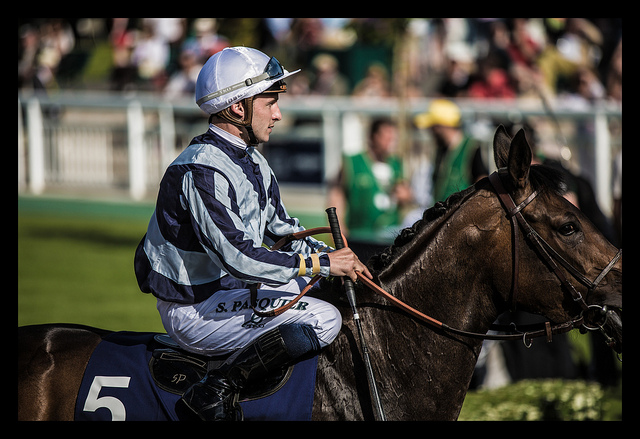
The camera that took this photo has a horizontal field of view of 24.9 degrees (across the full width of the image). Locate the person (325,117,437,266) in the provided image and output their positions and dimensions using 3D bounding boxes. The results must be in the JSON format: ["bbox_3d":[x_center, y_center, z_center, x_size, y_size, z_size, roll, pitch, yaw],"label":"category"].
[{"bbox_3d":[0.603,-0.060,14.492,0.948,2.262,0.664,-7,31,-3],"label":"person"}]

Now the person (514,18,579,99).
[{"bbox_3d":[2.322,-1.645,14.502,0.367,0.784,0.744,2,5,41],"label":"person"}]

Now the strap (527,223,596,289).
[{"bbox_3d":[1.907,0.274,11.265,0.063,0.603,0.081,-37,7,28],"label":"strap"}]
